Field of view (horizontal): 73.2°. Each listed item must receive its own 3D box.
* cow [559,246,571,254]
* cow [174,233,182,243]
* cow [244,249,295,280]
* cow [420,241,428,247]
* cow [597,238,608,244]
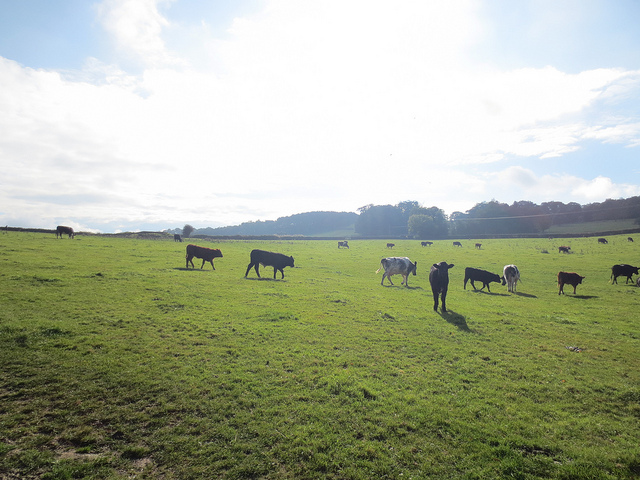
[{"bbox_3d":[33.312,1.335,58.058,1.959,1.089,0.937,0,0,-13],"label":"cow"},{"bbox_3d":[-22.369,-0.291,67.656,0.983,1.435,2.896,5,-1,-19],"label":"cow"},{"bbox_3d":[-4.120,1.992,35.051,3.254,2.327,4.353,4,-2,9],"label":"cow"},{"bbox_3d":[19.154,0.706,78.459,0.968,0.874,2.663,4,-2,15],"label":"cow"},{"bbox_3d":[45.457,0.096,69.138,0.967,0.752,1.863,4,-2,28],"label":"cow"}]
